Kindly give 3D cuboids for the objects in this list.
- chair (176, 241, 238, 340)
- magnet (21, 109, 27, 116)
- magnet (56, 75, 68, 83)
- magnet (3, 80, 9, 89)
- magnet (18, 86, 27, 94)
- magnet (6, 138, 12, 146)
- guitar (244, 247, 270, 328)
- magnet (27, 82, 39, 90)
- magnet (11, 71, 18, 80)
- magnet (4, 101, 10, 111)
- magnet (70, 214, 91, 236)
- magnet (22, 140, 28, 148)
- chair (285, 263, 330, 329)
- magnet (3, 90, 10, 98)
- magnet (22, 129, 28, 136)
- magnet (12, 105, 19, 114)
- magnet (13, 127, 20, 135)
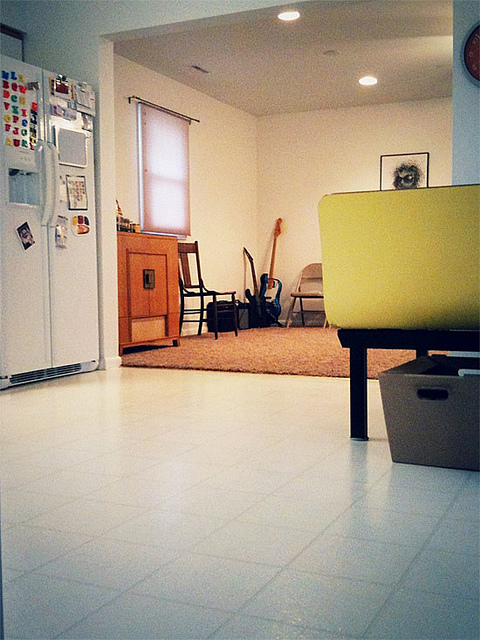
[{"bbox_3d":[-0.380,-0.377,6.254,0.658,0.943,1.332,-1,0,5],"label":"chair"},{"bbox_3d":[-1.337,-1.280,3.256,0.033,0.038,0.033,0,6,-10],"label":"magnet"},{"bbox_3d":[-1.198,-1.621,3.528,0.047,0.013,0.045,1,3,23],"label":"magnet"},{"bbox_3d":[-1.393,-1.397,3.129,0.005,0.033,0.046,-1,0,15],"label":"magnet"},{"bbox_3d":[-1.344,-1.421,3.249,0.008,0.032,0.071,-1,0,15],"label":"magnet"},{"bbox_3d":[-1.370,-1.054,3.118,0.029,0.041,0.030,5,4,6],"label":"magnet"},{"bbox_3d":[0.212,-0.457,7.363,0.325,0.957,0.448,-1,0,-15],"label":"guitar"},{"bbox_3d":[-1.307,-1.470,3.312,0.030,0.042,0.060,11,15,29],"label":"magnet"},{"bbox_3d":[-1.365,-1.471,3.179,0.033,0.063,0.032,-4,13,-23],"label":"magnet"},{"bbox_3d":[-1.389,-1.271,3.133,0.034,0.042,0.035,3,1,30],"label":"magnet"},{"bbox_3d":[-1.120,-0.661,3.687,0.031,0.137,0.132,1,2,30],"label":"magnet"},{"bbox_3d":[-1.321,-1.082,3.229,0.009,0.033,0.033,6,9,13],"label":"magnet"},{"bbox_3d":[0.986,-0.359,7.050,0.538,0.887,0.642,2,2,37],"label":"chair"},{"bbox_3d":[-1.391,-1.343,3.131,0.038,0.036,0.035,2,14,16],"label":"magnet"},{"bbox_3d":[-1.324,-1.147,3.252,0.011,0.036,0.035,10,32,13],"label":"magnet"},{"bbox_3d":[-1.365,-1.275,3.191,0.031,0.039,0.032,-4,11,-16],"label":"magnet"},{"bbox_3d":[-1.356,-1.143,3.185,0.009,0.052,0.048,-1,0,18],"label":"magnet"}]
